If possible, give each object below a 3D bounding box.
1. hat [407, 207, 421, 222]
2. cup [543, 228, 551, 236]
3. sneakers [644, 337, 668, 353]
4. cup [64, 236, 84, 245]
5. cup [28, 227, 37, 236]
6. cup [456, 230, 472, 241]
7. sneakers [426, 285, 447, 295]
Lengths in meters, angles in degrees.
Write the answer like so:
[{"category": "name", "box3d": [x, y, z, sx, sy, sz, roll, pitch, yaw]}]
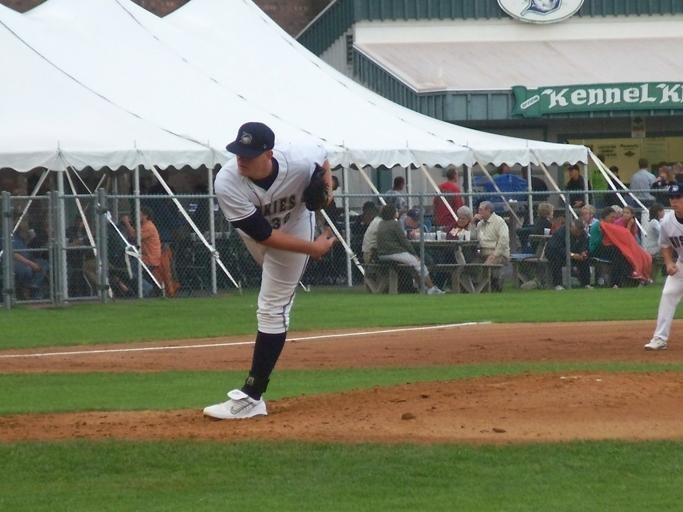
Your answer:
[{"category": "hat", "box3d": [1.441, -0.842, 30.987, 0.197, 0.287, 0.273, -7, 5, 3]}, {"category": "cup", "box3d": [4.150, -0.500, 30.760, 0.127, 0.181, 0.130, -5, 30, 3]}, {"category": "sneakers", "box3d": [4.909, 1.398, 23.748, 0.382, 0.183, 0.156, 2, 14, -3]}, {"category": "cup", "box3d": [-5.107, -0.286, 28.704, 0.288, 0.144, 0.094, 2, -1, -9]}, {"category": "cup", "box3d": [-5.897, -0.455, 28.610, 0.128, 0.157, 0.134, -13, -22, -5]}, {"category": "cup", "box3d": [2.398, -0.413, 30.035, 0.218, 0.251, 0.185, 4, -40, 7]}, {"category": "sneakers", "box3d": [1.832, 0.660, 29.611, 0.366, 0.175, 0.143, 1, 12, 5]}]
